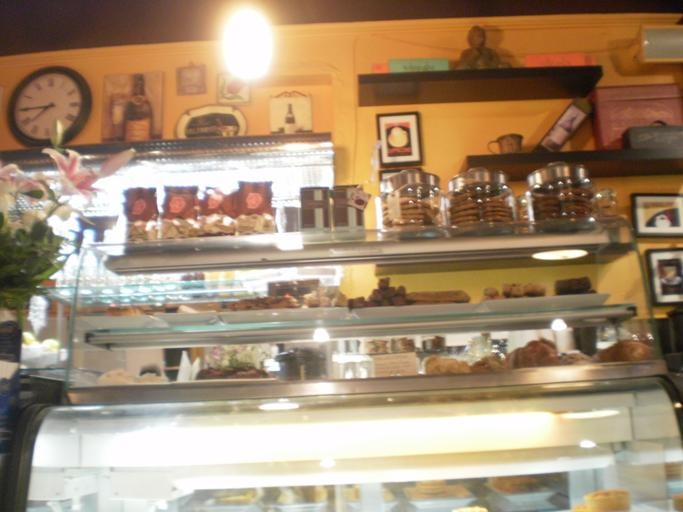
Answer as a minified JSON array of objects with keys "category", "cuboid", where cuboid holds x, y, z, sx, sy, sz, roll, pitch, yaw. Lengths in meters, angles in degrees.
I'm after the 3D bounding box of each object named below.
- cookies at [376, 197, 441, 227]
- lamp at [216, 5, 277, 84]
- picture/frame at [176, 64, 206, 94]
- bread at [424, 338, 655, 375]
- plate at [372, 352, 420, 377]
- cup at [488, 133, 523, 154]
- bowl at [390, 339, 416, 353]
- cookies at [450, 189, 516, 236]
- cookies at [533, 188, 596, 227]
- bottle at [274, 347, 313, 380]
[{"category":"cookies","cuboid":[0.281,-0.158,3.096,0.201,0.084,0.162,1,-8,-10]},{"category":"lamp","cuboid":[-0.457,-1.034,3.693,0.227,0.265,0.256,-4,-11,-2]},{"category":"picture/frame","cuboid":[-0.877,-1.021,4.423,0.269,0.193,0.021,-1,-12,0]},{"category":"bread","cuboid":[0.716,0.359,2.770,0.838,0.119,0.052,-3,-13,0]},{"category":"plate","cuboid":[0.197,0.394,2.760,0.165,0.083,0.019,-2,-13,-4]},{"category":"cup","cuboid":[0.902,-0.605,4.164,0.216,0.107,0.135,-2,-3,32]},{"category":"bowl","cuboid":[0.229,0.332,2.794,0.106,0.038,0.058,-2,-4,0]},{"category":"cookies","cuboid":[0.567,-0.155,3.036,0.276,0.129,0.223,0,-10,0]},{"category":"cookies","cuboid":[0.880,-0.191,2.993,0.249,0.179,0.196,-5,-11,11]},{"category":"bottle","cuboid":[-0.174,0.395,2.757,0.169,0.096,0.097,1,-9,2]}]
